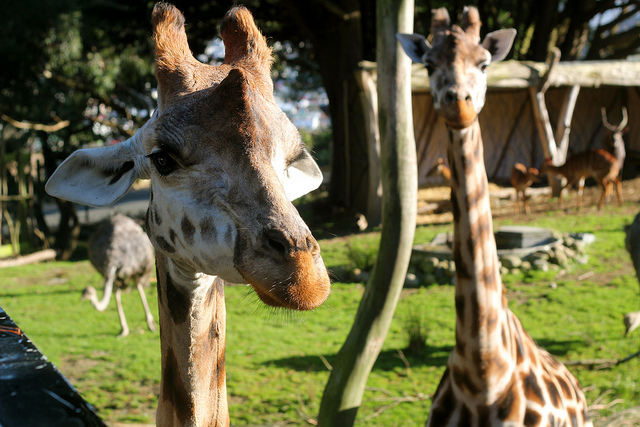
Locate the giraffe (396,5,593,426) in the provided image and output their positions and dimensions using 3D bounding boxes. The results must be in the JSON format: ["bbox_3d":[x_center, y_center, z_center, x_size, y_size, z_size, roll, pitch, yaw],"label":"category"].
[{"bbox_3d":[2.482,0.131,12.289,2.305,6.272,0.942,0,11,5],"label":"giraffe"}]
